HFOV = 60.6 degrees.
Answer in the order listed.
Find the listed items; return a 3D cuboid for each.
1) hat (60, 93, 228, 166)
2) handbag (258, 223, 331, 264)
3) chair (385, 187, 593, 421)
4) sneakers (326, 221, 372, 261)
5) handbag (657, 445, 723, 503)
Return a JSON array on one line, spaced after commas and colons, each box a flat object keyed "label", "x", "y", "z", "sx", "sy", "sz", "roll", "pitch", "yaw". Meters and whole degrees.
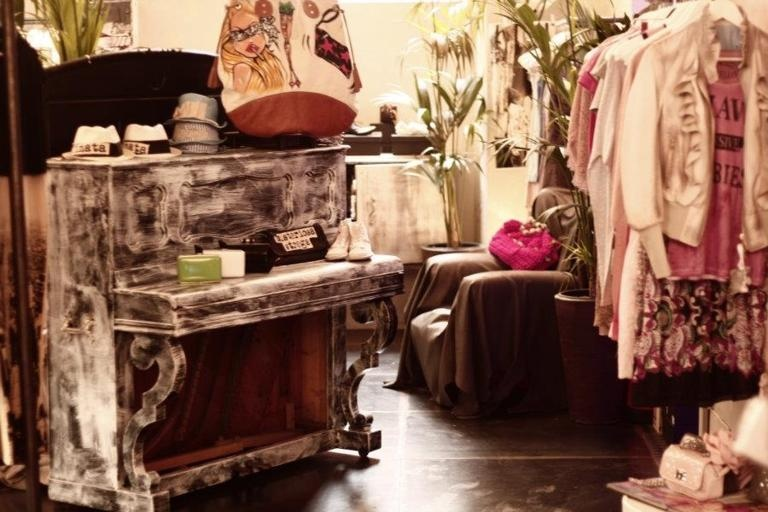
[{"label": "hat", "x": -1.109, "y": -0.610, "z": 3.033, "sx": 0.695, "sy": 0.316, "sz": 0.289, "roll": -4, "pitch": 9, "yaw": -26}, {"label": "handbag", "x": -0.424, "y": -0.062, "z": 3.249, "sx": 0.303, "sy": 0.183, "sz": 0.086, "roll": -10, "pitch": -7, "yaw": -39}, {"label": "chair", "x": 0.722, "y": 0.269, "z": 4.602, "sx": 1.231, "sy": 1.334, "sz": 1.177, "roll": -4, "pitch": 6, "yaw": -35}, {"label": "sneakers", "x": -0.180, "y": -0.085, "z": 3.374, "sx": 0.227, "sy": 0.201, "sz": 0.206, "roll": 0, "pitch": 8, "yaw": 4}, {"label": "handbag", "x": 1.103, "y": 0.748, "z": 2.308, "sx": 0.174, "sy": 0.150, "sz": 0.216, "roll": -9, "pitch": 2, "yaw": -16}]
